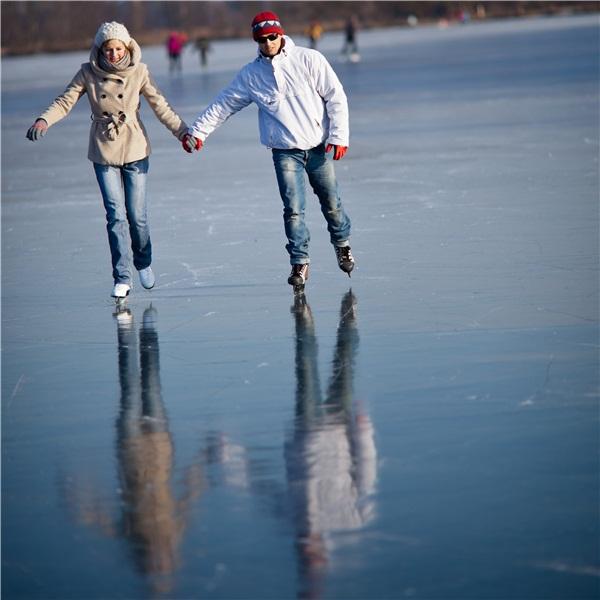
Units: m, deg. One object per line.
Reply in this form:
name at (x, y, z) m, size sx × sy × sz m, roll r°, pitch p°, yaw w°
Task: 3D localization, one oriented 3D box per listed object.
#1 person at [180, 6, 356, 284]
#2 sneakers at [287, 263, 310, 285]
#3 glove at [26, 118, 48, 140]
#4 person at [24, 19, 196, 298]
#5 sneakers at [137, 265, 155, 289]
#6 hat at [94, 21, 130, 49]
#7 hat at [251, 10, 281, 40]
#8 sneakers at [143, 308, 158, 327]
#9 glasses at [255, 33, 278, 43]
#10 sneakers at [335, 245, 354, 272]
person at (-0.127, -0.951, 7.281) m, size 0.876 × 1.704 × 0.575 m, roll -4°, pitch 14°, yaw 1°
sneakers at (-0.011, -0.170, 7.252) m, size 0.082 × 0.140 × 0.173 m, roll 1°, pitch 15°, yaw 20°
glove at (-1.605, -1.027, 6.876) m, size 0.157 × 0.050 × 0.121 m, roll -33°, pitch -20°, yaw 0°
person at (-1.139, -0.864, 7.201) m, size 0.924 × 1.698 × 0.530 m, roll -9°, pitch 14°, yaw -18°
sneakers at (-0.989, -0.162, 7.509) m, size 0.066 × 0.190 × 0.078 m, roll -21°, pitch 16°, yaw -18°
hat at (-1.134, -1.617, 6.913) m, size 0.167 × 0.161 × 0.180 m, roll 0°, pitch 0°, yaw -6°
hat at (-0.205, -1.680, 7.035) m, size 0.142 × 0.158 × 0.195 m, roll -18°, pitch 1°, yaw -3°
sneakers at (-0.890, 0.101, 6.860) m, size 0.052 × 0.065 × 0.149 m, roll -6°, pitch 18°, yaw -1°
glasses at (-0.215, -1.587, 6.993) m, size 0.178 × 0.050 × 0.079 m, roll 9°, pitch 20°, yaw 42°
sneakers at (0.294, -0.263, 7.478) m, size 0.064 × 0.253 × 0.111 m, roll -8°, pitch -19°, yaw -1°
